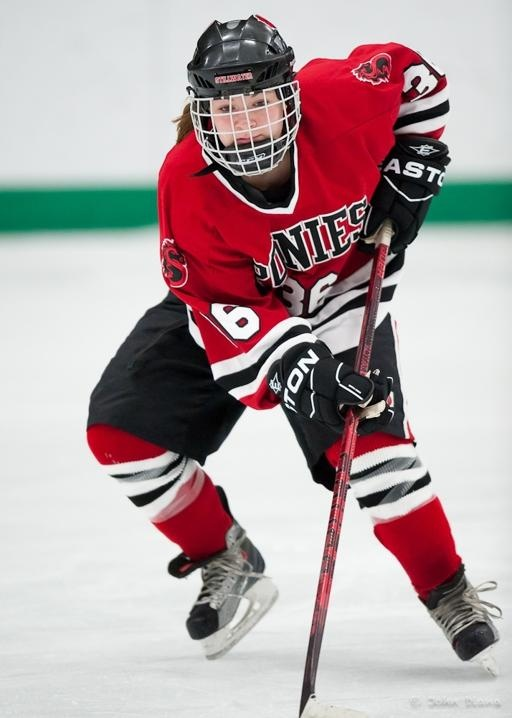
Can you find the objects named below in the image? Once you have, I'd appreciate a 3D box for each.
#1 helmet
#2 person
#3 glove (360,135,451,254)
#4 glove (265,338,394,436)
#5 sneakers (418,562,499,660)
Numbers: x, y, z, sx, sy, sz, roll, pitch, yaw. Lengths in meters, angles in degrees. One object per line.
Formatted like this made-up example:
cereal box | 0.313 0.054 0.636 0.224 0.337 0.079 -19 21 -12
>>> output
helmet | -0.013 -0.487 1.347 0.215 0.234 0.243 -5 38 12
person | 0.055 -0.022 1.522 0.851 1.135 0.699 -3 11 9
glove | 0.325 -0.364 1.655 0.174 0.270 0.107 25 5 -7
glove | 0.105 0.049 1.258 0.216 0.114 0.082 18 1 2
sneakers | 0.388 0.454 1.393 0.111 0.097 0.256 -30 6 2
